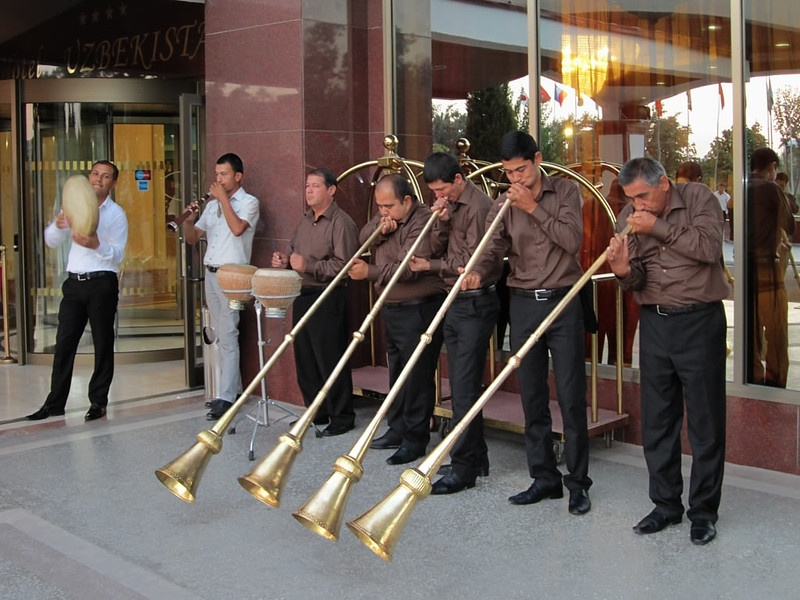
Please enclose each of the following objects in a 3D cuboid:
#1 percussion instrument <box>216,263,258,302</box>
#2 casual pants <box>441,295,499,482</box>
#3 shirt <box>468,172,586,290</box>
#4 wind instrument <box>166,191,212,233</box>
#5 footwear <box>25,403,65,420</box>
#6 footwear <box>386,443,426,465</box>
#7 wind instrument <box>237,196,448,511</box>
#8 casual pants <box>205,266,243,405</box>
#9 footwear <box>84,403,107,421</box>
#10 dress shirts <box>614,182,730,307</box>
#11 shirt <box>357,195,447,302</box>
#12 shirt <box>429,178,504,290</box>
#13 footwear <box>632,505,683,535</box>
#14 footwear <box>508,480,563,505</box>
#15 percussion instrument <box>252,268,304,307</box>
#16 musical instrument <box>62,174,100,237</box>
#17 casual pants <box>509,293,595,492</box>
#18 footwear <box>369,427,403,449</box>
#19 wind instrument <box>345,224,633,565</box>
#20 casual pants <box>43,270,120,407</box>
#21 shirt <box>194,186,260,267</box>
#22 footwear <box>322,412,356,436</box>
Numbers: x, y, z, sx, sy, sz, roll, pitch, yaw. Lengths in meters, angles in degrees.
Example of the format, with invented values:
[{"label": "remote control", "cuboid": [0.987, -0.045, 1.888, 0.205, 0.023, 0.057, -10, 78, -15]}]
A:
[{"label": "percussion instrument", "cuboid": [-1.067, -0.118, 4.827, 0.230, 0.234, 0.243, 3, 8, -4]}, {"label": "casual pants", "cuboid": [0.379, 0.460, 4.147, 0.266, 1.124, 0.321, 4, -1, -9]}, {"label": "shirt", "cuboid": [0.651, -0.348, 3.865, 0.591, 0.693, 0.428, 3, -11, -6]}, {"label": "wind instrument", "cuboid": [-1.543, -0.642, 5.413, 0.437, 0.096, 0.087, -26, -31, 25]}, {"label": "footwear", "cuboid": [-2.645, 0.839, 5.497, 0.279, 0.124, 0.100, 7, -5, -43]}, {"label": "footwear", "cuboid": [0.045, 0.947, 4.506, 0.252, 0.117, 0.094, 0, -5, -34]}, {"label": "wind instrument", "cuboid": [-0.347, 0.298, 4.509, 0.304, 2.015, 0.344, 24, -29, 13]}, {"label": "casual pants", "cuboid": [-1.339, 0.452, 5.598, 0.126, 0.610, 0.158, -16, -2, -43]}, {"label": "footwear", "cuboid": [-2.279, 0.849, 5.468, 0.070, 0.076, 0.169, -1, -3, 8]}, {"label": "dress shirts", "cuboid": [1.296, -0.250, 3.522, 0.463, 0.622, 0.382, -3, 9, 43]}, {"label": "shirt", "cuboid": [0.028, -0.342, 4.608, 0.514, 0.782, 0.587, -5, 7, -29]}, {"label": "shirt", "cuboid": [0.360, -0.367, 4.245, 0.398, 0.641, 0.477, -11, 22, -10]}, {"label": "footwear", "cuboid": [1.234, 1.044, 3.550, 0.270, 0.123, 0.100, -6, -1, -31]}, {"label": "footwear", "cuboid": [0.738, 1.021, 3.930, 0.305, 0.150, 0.115, -1, 1, -13]}, {"label": "percussion instrument", "cuboid": [-0.763, -0.106, 4.541, 0.216, 0.196, 0.258, 1, 11, -10]}, {"label": "musical instrument", "cuboid": [-2.277, -0.673, 5.224, 0.165, 0.431, 0.366, -6, 10, -37]}, {"label": "casual pants", "cuboid": [0.800, 0.520, 3.937, 0.380, 1.248, 0.299, 3, 16, 32]}, {"label": "footwear", "cuboid": [-0.079, 0.900, 4.752, 0.264, 0.131, 0.099, 2, -3, -19]}, {"label": "wind instrument", "cuboid": [0.252, 0.538, 3.033, 1.009, 0.792, 0.254, -8, 10, -39]}, {"label": "casual pants", "cuboid": [-2.419, 0.330, 5.574, 0.533, 1.078, 0.293, -1, 7, -1]}, {"label": "shirt", "cuboid": [-1.342, -0.528, 5.626, 0.500, 0.641, 0.314, 1, -3, 22]}, {"label": "footwear", "cuboid": [-0.413, 0.871, 4.998, 0.089, 0.170, 0.221, -8, -11, 44]}]
